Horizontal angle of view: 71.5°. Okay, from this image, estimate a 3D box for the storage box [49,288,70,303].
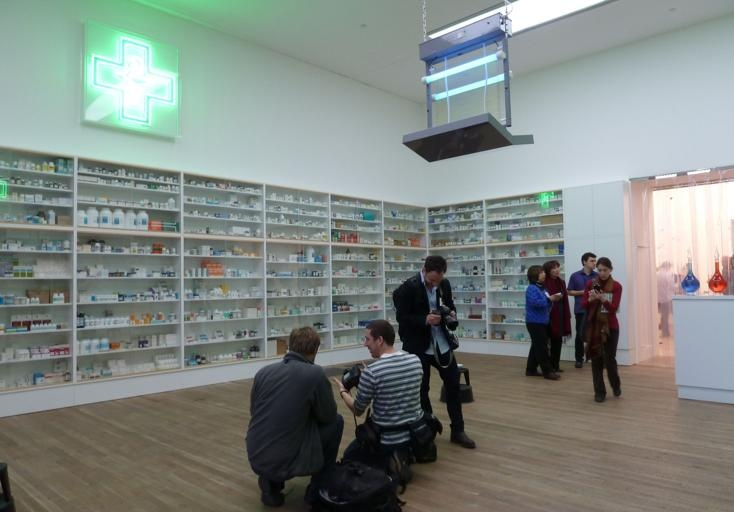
[{"bbox_3d":[-4.782,0.611,7.956,0.208,0.160,0.206,4,-5,-34],"label":"storage box"}]

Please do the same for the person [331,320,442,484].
[{"bbox_3d":[0.228,1.583,5.421,0.931,1.751,0.872,-3,10,-15],"label":"person"}]

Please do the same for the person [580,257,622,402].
[{"bbox_3d":[3.411,1.067,7.340,0.632,1.851,0.392,-2,-2,-30],"label":"person"}]

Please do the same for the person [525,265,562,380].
[{"bbox_3d":[3.064,1.135,8.904,0.626,1.591,0.753,-3,-2,16],"label":"person"}]

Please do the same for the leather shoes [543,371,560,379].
[{"bbox_3d":[3.140,2.028,8.664,0.220,0.094,0.118,-6,-6,38],"label":"leather shoes"}]

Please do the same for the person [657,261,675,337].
[{"bbox_3d":[6.061,0.879,10.333,0.318,1.517,0.380,-4,-2,21],"label":"person"}]

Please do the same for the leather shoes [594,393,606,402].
[{"bbox_3d":[3.365,2.034,7.344,0.069,0.101,0.233,-2,-2,22],"label":"leather shoes"}]

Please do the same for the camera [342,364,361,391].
[{"bbox_3d":[-0.139,1.231,5.190,0.194,0.264,0.269,2,-9,39],"label":"camera"}]

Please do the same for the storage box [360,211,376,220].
[{"bbox_3d":[0.046,-0.925,11.703,0.175,0.228,0.332,-3,-3,42],"label":"storage box"}]

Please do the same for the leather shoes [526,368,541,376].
[{"bbox_3d":[2.936,2.048,9.036,0.314,0.141,0.109,0,1,-6],"label":"leather shoes"}]

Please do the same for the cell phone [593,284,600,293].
[{"bbox_3d":[3.246,0.446,7.187,0.035,0.096,0.097,1,1,45],"label":"cell phone"}]

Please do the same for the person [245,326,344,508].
[{"bbox_3d":[-0.689,1.522,4.935,0.936,1.632,0.316,-2,-2,-15],"label":"person"}]

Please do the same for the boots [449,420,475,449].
[{"bbox_3d":[1.065,2.144,6.077,0.154,0.300,0.410,2,-6,-40],"label":"boots"}]

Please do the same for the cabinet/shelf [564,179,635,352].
[{"bbox_3d":[4.480,0.232,10.554,1.325,3.561,0.396,-4,18,-11],"label":"cabinet/shelf"}]
